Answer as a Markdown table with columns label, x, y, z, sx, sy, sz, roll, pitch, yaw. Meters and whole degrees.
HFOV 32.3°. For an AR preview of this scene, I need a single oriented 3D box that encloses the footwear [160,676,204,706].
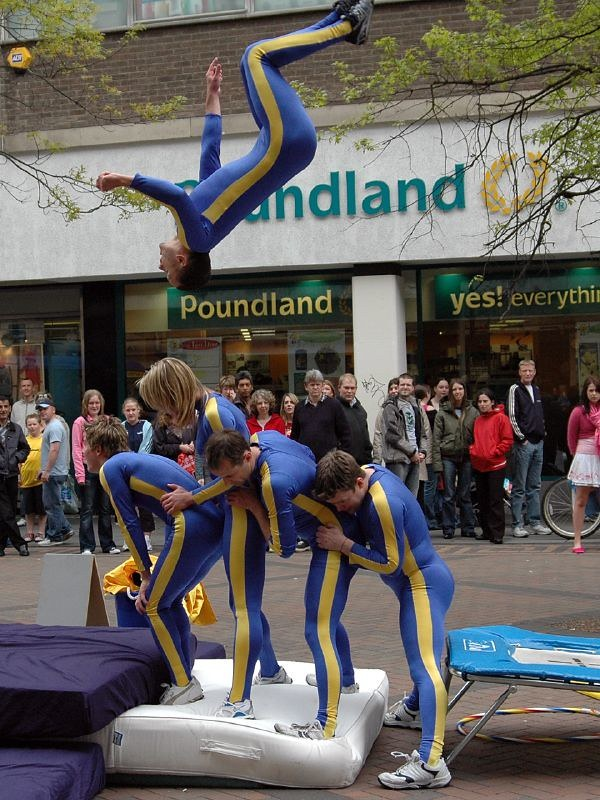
| label | x | y | z | sx | sy | sz | roll | pitch | yaw |
| --- | --- | --- | --- | --- | --- | --- | --- | --- | --- |
| footwear | -0.517 | 1.312 | 4.637 | 0.228 | 0.093 | 0.078 | -14 | -14 | 18 |

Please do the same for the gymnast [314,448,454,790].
| label | x | y | z | sx | sy | sz | roll | pitch | yaw |
| --- | --- | --- | --- | --- | --- | --- | --- | --- | --- |
| gymnast | 0.340 | 0.858 | 4.220 | 0.549 | 1.200 | 0.601 | -1 | 0 | 7 |

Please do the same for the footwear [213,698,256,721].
| label | x | y | z | sx | sy | sz | roll | pitch | yaw |
| --- | --- | --- | --- | --- | --- | --- | --- | --- | --- |
| footwear | -0.267 | 1.295 | 4.303 | 0.178 | 0.077 | 0.065 | 3 | -12 | 2 |

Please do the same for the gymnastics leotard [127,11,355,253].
| label | x | y | z | sx | sy | sz | roll | pitch | yaw |
| --- | --- | --- | --- | --- | --- | --- | --- | --- | --- |
| gymnastics leotard | -0.214 | -1.080 | 4.055 | 0.892 | 0.892 | 0.336 | -1 | 0 | -9 |

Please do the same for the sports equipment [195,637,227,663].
| label | x | y | z | sx | sy | sz | roll | pitch | yaw |
| --- | --- | --- | --- | --- | --- | --- | --- | --- | --- |
| sports equipment | -0.496 | 1.392 | 5.727 | 0.168 | 0.065 | 0.167 | 3 | -1 | 0 |

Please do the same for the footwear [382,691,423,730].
| label | x | y | z | sx | sy | sz | roll | pitch | yaw |
| --- | --- | --- | --- | --- | --- | --- | --- | --- | --- |
| footwear | 0.476 | 1.509 | 4.985 | 0.234 | 0.141 | 0.090 | 1 | -2 | 33 |

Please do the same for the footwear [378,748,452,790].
| label | x | y | z | sx | sy | sz | roll | pitch | yaw |
| --- | --- | --- | --- | --- | --- | --- | --- | --- | --- |
| footwear | 0.433 | 1.426 | 3.997 | 0.264 | 0.128 | 0.126 | 2 | -5 | 0 |

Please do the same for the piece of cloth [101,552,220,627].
| label | x | y | z | sx | sy | sz | roll | pitch | yaw |
| --- | --- | --- | --- | --- | --- | --- | --- | --- | --- |
| piece of cloth | -0.720 | 1.135 | 5.973 | 0.592 | 0.556 | 0.591 | -5 | -13 | 19 |

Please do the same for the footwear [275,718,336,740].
| label | x | y | z | sx | sy | sz | roll | pitch | yaw |
| --- | --- | --- | --- | --- | --- | --- | --- | --- | --- |
| footwear | 0.022 | 1.319 | 4.144 | 0.228 | 0.087 | 0.083 | 10 | -5 | 8 |

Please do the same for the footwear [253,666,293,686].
| label | x | y | z | sx | sy | sz | roll | pitch | yaw |
| --- | --- | --- | --- | --- | --- | --- | --- | --- | --- |
| footwear | -0.135 | 1.347 | 5.021 | 0.187 | 0.077 | 0.067 | -2 | -10 | -5 |
